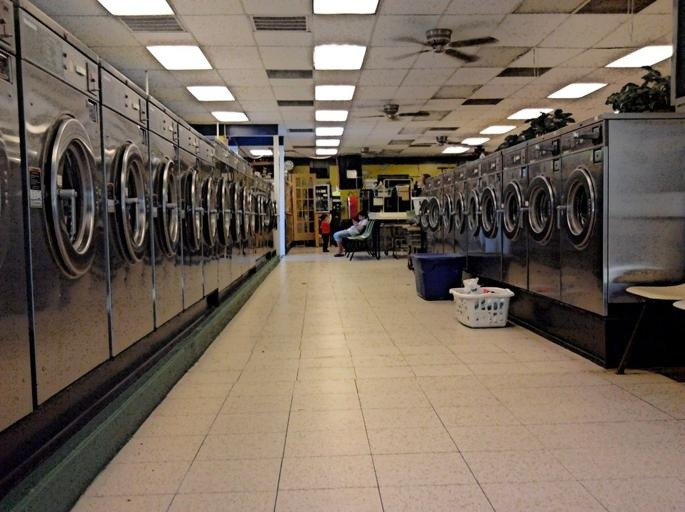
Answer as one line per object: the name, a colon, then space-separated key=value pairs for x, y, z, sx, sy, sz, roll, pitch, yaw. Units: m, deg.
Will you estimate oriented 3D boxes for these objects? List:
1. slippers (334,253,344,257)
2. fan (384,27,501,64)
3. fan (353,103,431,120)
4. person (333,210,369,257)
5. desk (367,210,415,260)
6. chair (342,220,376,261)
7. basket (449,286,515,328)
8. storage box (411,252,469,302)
slippers: x=-0.101 y=-0.030 z=12.222 sx=0.241 sy=0.103 sz=0.085 roll=3 pitch=-2 yaw=-3
fan: x=1.403 y=-2.770 z=6.513 sx=1.447 sy=0.248 sz=0.793 roll=-8 pitch=12 yaw=-35
fan: x=1.055 y=-3.051 z=10.473 sx=1.220 sy=0.221 sz=1.924 roll=6 pitch=12 yaw=37
person: x=0.192 y=-0.574 z=12.119 sx=0.799 sy=1.246 sz=0.531 roll=5 pitch=-10 yaw=-2
desk: x=1.109 y=-0.473 z=11.588 sx=1.119 sy=1.141 sz=0.925 roll=-1 pitch=0 yaw=-2
chair: x=0.491 y=-0.359 z=11.860 sx=0.826 sy=1.229 sz=0.848 roll=0 pitch=1 yaw=-14
basket: x=1.373 y=0.459 z=4.785 sx=0.500 sy=0.323 sz=0.599 roll=-3 pitch=7 yaw=4
storage box: x=1.177 y=0.233 z=6.227 sx=0.637 sy=0.562 sz=0.747 roll=-1 pitch=4 yaw=12
